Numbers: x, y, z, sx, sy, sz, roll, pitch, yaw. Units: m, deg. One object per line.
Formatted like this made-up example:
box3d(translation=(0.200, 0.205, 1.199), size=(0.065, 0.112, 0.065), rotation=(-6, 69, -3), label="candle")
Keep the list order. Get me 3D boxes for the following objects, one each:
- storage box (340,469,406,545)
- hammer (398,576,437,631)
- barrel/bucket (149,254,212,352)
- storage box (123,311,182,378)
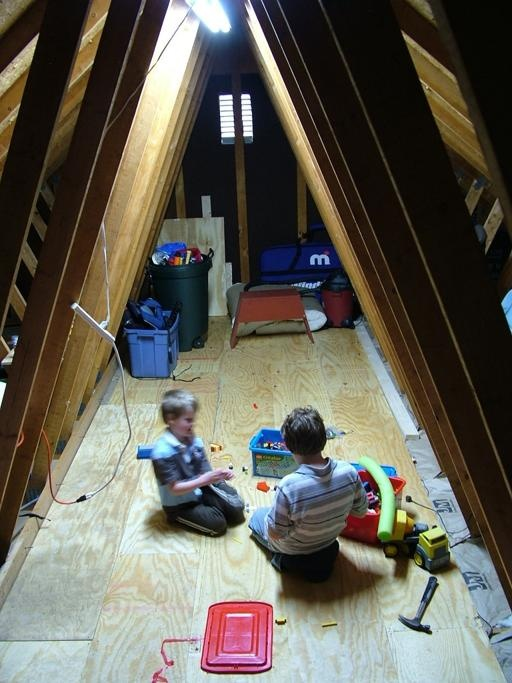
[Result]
box3d(translation=(0.542, 0.788, 2.288), size=(0.228, 0.278, 0.324), rotation=(9, 23, 12), label="storage box")
box3d(translation=(0.631, 1.005, 1.860), size=(0.119, 0.048, 0.297), rotation=(12, 14, 23), label="hammer")
box3d(translation=(-0.630, -0.379, 4.585), size=(0.519, 0.921, 0.651), rotation=(0, 25, 5), label="barrel/bucket")
box3d(translation=(-0.892, 0.014, 4.222), size=(0.388, 0.459, 0.608), rotation=(-1, 18, -4), label="storage box")
